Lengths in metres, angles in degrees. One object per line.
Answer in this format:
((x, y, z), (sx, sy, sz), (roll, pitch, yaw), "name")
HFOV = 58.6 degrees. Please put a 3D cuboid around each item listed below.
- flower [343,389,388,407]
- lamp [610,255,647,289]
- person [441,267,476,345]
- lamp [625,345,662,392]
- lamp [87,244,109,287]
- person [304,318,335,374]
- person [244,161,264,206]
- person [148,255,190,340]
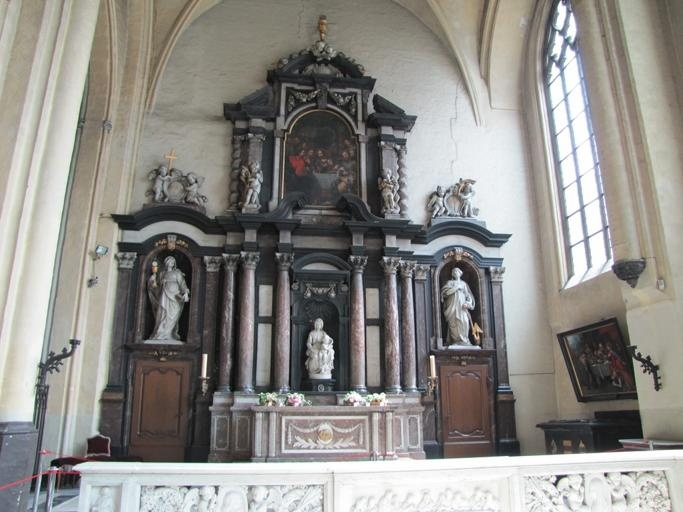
((0.384, 2.341, 9.914), (0.758, 0.231, 0.700), (3, 9, 3), "flower")
((3.919, 0.227, 8.259), (0.383, 0.389, 0.401), (10, -17, -28), "lamp")
((2.125, 0.919, 11.033), (0.542, 1.314, 0.592), (2, 9, -6), "person")
((4.014, 1.489, 8.077), (0.145, 0.495, 0.518), (0, 9, -16), "lamp")
((-4.154, 0.172, 10.371), (0.275, 0.958, 0.344), (-7, -23, 4), "lamp")
((-0.371, 1.598, 10.394), (0.540, 0.926, 0.401), (11, 12, 42), "person")
((-1.630, -1.299, 11.033), (0.351, 0.825, 0.611), (1, 9, -10), "person")
((-3.015, 0.742, 10.578), (0.694, 1.380, 0.627), (1, 9, -9), "person")
